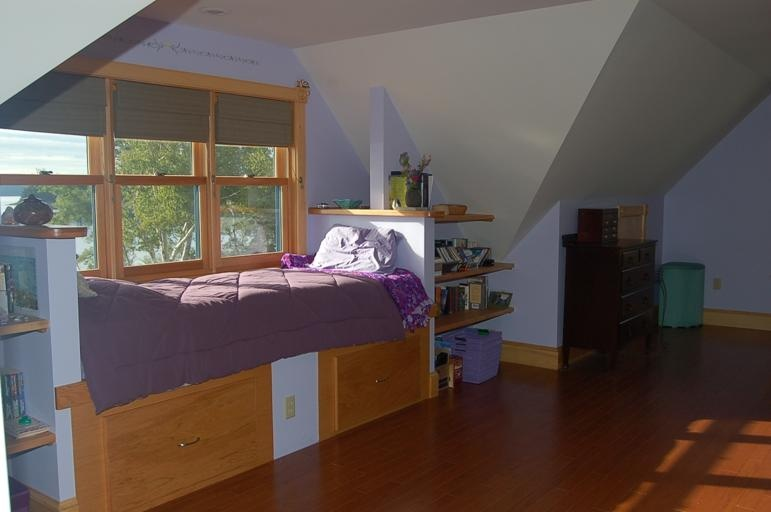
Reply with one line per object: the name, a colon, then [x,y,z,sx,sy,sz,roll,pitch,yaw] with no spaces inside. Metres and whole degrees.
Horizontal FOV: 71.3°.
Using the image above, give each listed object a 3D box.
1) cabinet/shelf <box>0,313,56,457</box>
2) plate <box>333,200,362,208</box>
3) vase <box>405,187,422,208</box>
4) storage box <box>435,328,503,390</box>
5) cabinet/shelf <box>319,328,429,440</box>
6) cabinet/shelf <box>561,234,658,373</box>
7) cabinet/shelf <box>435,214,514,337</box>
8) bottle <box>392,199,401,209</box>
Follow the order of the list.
cabinet/shelf: [-1.813,0.667,2.727,0.238,0.733,0.389,-7,11,-33]
plate: [-0.348,-0.470,4.823,0.211,0.062,0.435,-2,9,-7]
vase: [0.223,-0.470,4.349,0.147,0.157,0.146,0,10,7]
storage box: [0.727,0.890,4.822,0.477,0.326,0.486,0,1,45]
cabinet/shelf: [-0.207,0.858,4.147,1.053,0.615,0.630,-7,11,-30]
cabinet/shelf: [2.233,0.414,5.337,0.508,1.079,1.303,3,4,40]
cabinet/shelf: [0.712,0.181,4.819,0.491,1.164,1.243,6,11,36]
bottle: [0.078,-0.426,4.415,0.079,0.089,0.079,-4,14,-13]
